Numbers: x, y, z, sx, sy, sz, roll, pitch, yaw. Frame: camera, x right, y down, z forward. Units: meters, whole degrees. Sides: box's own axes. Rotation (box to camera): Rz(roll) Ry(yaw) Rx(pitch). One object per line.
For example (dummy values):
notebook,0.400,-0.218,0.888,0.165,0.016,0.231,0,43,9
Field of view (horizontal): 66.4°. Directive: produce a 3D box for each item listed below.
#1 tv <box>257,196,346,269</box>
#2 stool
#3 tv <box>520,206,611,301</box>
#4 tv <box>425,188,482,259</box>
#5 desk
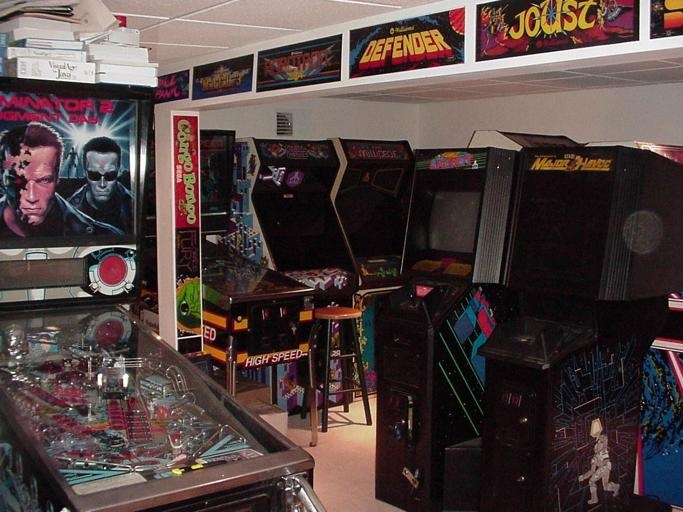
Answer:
tv,-0.404,-0.238,5.027,0.618,0.600,0.345,-8,7,-32
stool,0.019,1.044,4.780,0.626,1.033,0.626,-8,-11,17
tv,1.241,-0.017,2.838,0.165,0.442,0.501,3,1,-39
tv,0.770,-0.233,3.554,0.096,0.403,0.363,6,1,-43
desk,-0.765,0.843,4.618,0.928,1.469,0.938,-3,-1,-29
